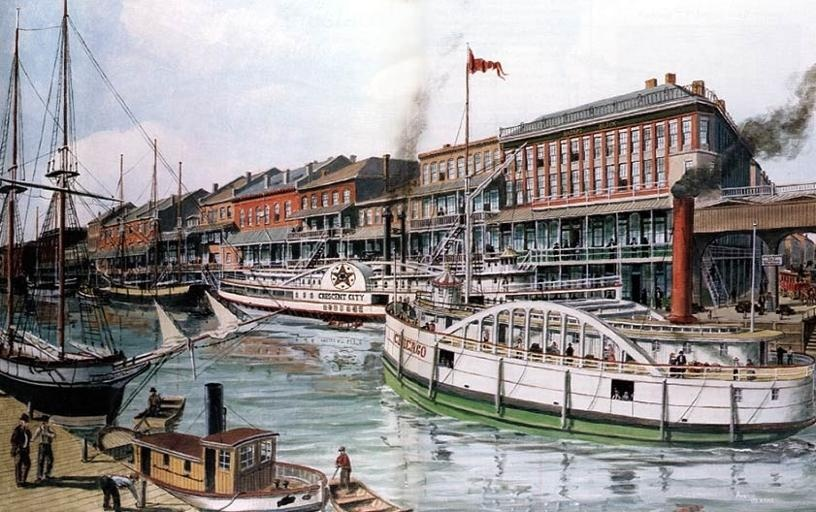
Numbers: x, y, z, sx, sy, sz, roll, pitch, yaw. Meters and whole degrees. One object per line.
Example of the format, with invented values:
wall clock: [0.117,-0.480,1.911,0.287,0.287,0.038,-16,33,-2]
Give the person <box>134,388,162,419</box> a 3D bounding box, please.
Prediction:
person: [-8.860,5.083,45.425,0.847,1.005,0.455,1,-6,-12]

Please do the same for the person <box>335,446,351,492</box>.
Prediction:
person: [-2.128,7.072,44.221,0.537,1.290,0.836,0,-6,-3]

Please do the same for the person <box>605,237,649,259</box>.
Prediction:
person: [8.188,-0.301,48.616,0.937,0.522,0.911,-2,2,-36]
